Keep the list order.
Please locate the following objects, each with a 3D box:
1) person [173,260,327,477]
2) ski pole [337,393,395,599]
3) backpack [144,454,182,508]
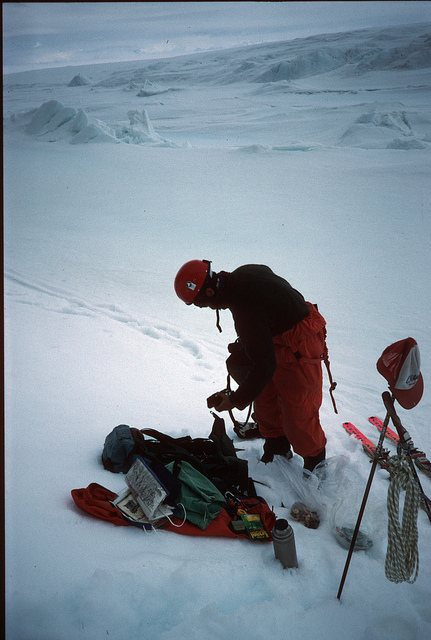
[{"bbox_3d":[0.244,0.316,3.235,0.959,1.284,0.481,4,6,1],"label":"person"},{"bbox_3d":[0.852,1.013,3.075,0.078,1.064,0.067,17,10,12],"label":"ski pole"},{"bbox_3d":[-0.295,0.884,3.038,0.203,0.185,0.400,3,6,-6],"label":"backpack"}]
